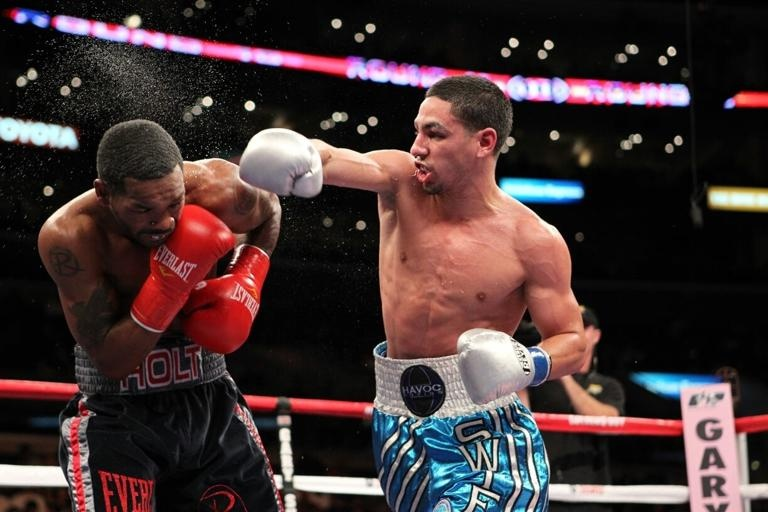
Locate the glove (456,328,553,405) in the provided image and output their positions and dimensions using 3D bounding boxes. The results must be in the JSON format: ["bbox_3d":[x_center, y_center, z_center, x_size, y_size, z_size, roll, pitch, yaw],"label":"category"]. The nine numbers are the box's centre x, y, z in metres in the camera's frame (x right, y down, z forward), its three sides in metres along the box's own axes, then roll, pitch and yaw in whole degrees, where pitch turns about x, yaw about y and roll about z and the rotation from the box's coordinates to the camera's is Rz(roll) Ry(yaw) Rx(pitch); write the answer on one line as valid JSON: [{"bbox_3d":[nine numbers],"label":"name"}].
[{"bbox_3d":[0.675,0.626,5.494,0.533,0.371,0.223,-10,-17,-28],"label":"glove"}]
